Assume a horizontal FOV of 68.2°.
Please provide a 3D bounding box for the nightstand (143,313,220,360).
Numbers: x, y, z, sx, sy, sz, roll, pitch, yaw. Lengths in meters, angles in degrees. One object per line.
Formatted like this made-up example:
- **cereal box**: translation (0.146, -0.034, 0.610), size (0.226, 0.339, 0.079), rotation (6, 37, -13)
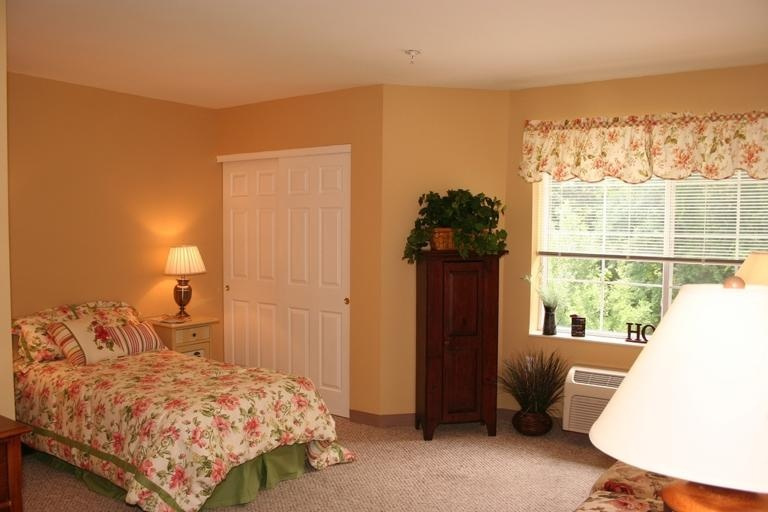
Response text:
- **nightstand**: translation (-2.166, 0.790, 6.172), size (0.487, 0.685, 0.585), rotation (3, 5, 30)

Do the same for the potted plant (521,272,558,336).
- **potted plant**: translation (1.586, 0.477, 5.750), size (0.351, 0.597, 0.234), rotation (3, 9, 13)

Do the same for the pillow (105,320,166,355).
- **pillow**: translation (-2.380, 0.773, 5.426), size (0.109, 0.263, 0.374), rotation (-34, -13, 22)

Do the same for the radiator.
- **radiator**: translation (1.949, 1.370, 5.423), size (0.608, 0.569, 0.300), rotation (9, 8, -7)

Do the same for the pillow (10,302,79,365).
- **pillow**: translation (-3.166, 0.724, 5.156), size (0.459, 0.452, 0.135), rotation (-9, -20, -45)

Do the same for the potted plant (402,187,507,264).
- **potted plant**: translation (0.683, -0.305, 5.307), size (0.926, 0.653, 0.722), rotation (2, 3, 44)

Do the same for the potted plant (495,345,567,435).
- **potted plant**: translation (1.417, 1.318, 5.587), size (0.701, 0.817, 0.700), rotation (2, -5, -8)
